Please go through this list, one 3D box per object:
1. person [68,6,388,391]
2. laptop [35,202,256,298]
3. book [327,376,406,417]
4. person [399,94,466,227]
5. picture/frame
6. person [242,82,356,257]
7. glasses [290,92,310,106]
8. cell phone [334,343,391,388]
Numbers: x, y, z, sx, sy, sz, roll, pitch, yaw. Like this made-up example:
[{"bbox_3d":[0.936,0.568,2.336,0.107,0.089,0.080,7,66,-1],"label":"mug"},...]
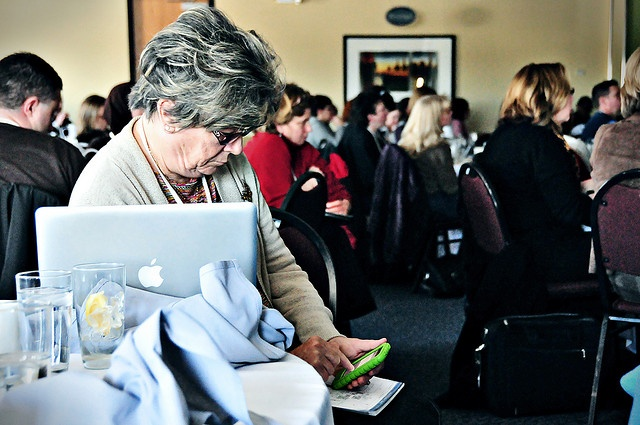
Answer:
[{"bbox_3d":[-0.440,-0.224,2.081,1.271,1.254,0.814,4,12,13],"label":"person"},{"bbox_3d":[-0.418,0.075,1.374,0.414,0.273,0.284,0,3,-6],"label":"laptop"},{"bbox_3d":[0.109,0.472,1.385,0.102,0.015,0.108,1,11,33],"label":"book"},{"bbox_3d":[0.707,-0.358,3.585,0.376,0.835,0.339,0,5,6],"label":"person"},{"bbox_3d":[0.608,-1.046,3.933,0.644,0.431,0.022,0,-6,5],"label":"picture/frame"},{"bbox_3d":[-0.181,-0.381,3.850,0.980,1.356,0.847,-2,6,3],"label":"person"},{"bbox_3d":[-0.134,-0.696,3.317,0.093,0.047,0.123,-3,3,-3],"label":"glasses"},{"bbox_3d":[0.118,0.421,1.419,0.154,0.034,0.089,-40,2,24],"label":"cell phone"}]
